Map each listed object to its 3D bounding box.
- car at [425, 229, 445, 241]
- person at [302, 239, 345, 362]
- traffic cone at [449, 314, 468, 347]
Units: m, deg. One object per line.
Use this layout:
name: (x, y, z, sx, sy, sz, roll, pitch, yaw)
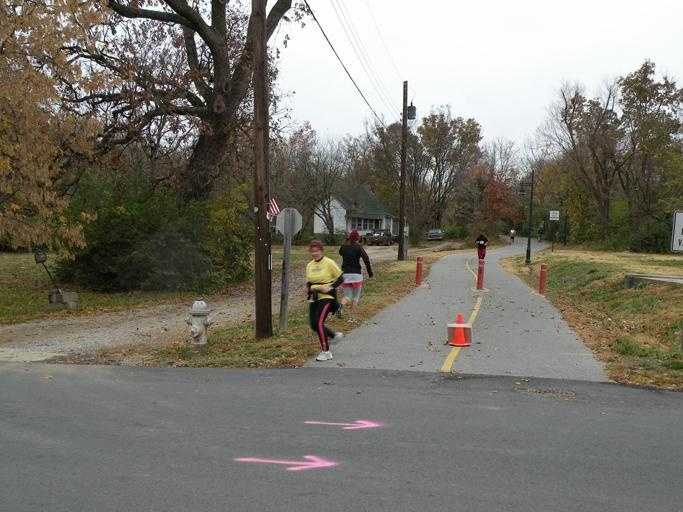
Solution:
car: (10.512, -2.473, 73.812, 1.212, 1.030, 2.452, 2, 10, 13)
person: (-0.370, 0.823, 12.972, 0.699, 2.302, 1.133, 1, 2, -2)
traffic cone: (2.461, 1.533, 13.746, 0.379, 0.628, 0.488, 1, 2, -10)
